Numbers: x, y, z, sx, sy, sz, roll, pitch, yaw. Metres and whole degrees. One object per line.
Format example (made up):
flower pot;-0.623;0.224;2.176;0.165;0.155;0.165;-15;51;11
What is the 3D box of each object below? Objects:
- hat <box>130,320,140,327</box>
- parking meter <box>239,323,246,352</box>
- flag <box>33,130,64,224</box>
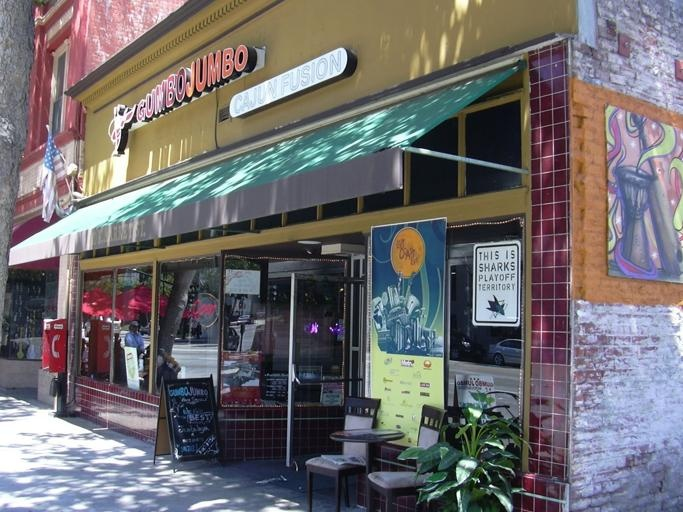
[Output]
hat;-4.208;1.411;12.209;0.150;0.047;0.149;1;21;23
parking meter;-1.699;1.415;10.284;0.098;0.483;0.029;2;-4;-27
flag;-6.634;-1.877;13.760;0.467;2.239;1.393;2;-4;-26
